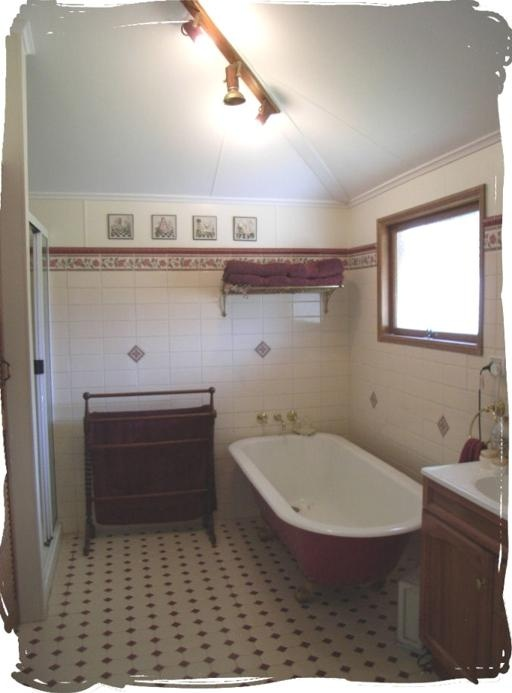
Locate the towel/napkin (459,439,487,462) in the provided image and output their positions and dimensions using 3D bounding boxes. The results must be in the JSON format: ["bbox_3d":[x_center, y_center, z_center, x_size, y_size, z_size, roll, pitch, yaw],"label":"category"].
[{"bbox_3d":[0.938,0.445,2.397,0.063,0.111,0.105,9,12,-14],"label":"towel/napkin"}]

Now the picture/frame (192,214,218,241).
[{"bbox_3d":[-0.346,-0.784,3.652,0.178,0.180,0.018,-2,12,-18],"label":"picture/frame"}]

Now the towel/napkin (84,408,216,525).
[{"bbox_3d":[-0.639,0.748,3.440,0.798,0.719,0.109,-2,4,-6],"label":"towel/napkin"}]

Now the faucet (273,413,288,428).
[{"bbox_3d":[0.163,0.502,3.834,0.067,0.103,0.105,1,7,-15],"label":"faucet"}]

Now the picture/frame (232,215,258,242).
[{"bbox_3d":[-0.085,-0.792,3.734,0.175,0.176,0.018,-2,11,-9],"label":"picture/frame"}]

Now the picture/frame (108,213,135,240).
[{"bbox_3d":[-0.855,-0.753,3.492,0.167,0.177,0.013,-2,7,-22],"label":"picture/frame"}]

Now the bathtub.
[{"bbox_3d":[0.363,0.893,3.058,0.889,0.554,1.524,0,3,-4],"label":"bathtub"}]

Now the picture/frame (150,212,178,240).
[{"bbox_3d":[-0.602,-0.772,3.570,0.171,0.173,0.014,-4,12,-23],"label":"picture/frame"}]
